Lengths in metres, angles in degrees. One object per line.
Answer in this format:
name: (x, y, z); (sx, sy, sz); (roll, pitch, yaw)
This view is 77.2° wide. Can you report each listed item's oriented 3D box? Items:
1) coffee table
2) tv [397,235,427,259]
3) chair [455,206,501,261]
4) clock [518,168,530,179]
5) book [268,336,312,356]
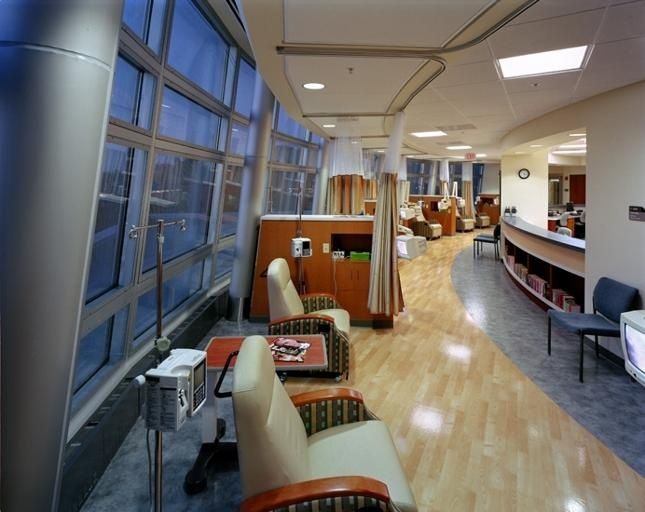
coffee table: (-0.521, 1.334, 3.495); (0.962, 1.069, 1.164); (1, 8, 6)
tv: (1.194, -0.104, 5.572); (0.300, 0.279, 0.317); (-3, 8, -24)
chair: (4.728, -0.722, 12.145); (1.033, 2.109, 1.111); (2, 6, 20)
clock: (4.996, -2.054, 10.126); (0.270, 0.279, 0.058); (1, 8, 10)
book: (-0.276, 0.796, 3.582); (0.218, 0.074, 0.244); (3, 6, 15)
